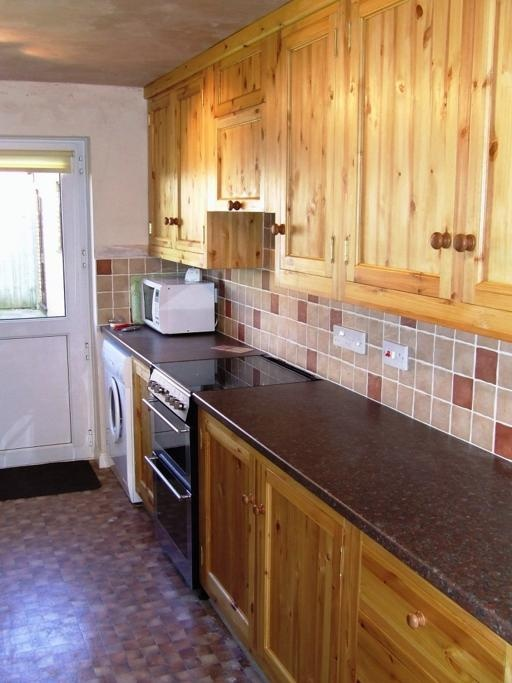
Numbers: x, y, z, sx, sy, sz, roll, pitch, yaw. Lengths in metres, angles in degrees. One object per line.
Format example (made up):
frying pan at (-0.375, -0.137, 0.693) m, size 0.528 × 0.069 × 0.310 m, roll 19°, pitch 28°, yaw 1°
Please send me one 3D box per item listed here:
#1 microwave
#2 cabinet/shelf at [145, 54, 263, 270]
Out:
microwave at (-0.492, -0.232, 3.536) m, size 0.316 × 0.320 × 0.459 m, roll -2°, pitch 9°, yaw -21°
cabinet/shelf at (-0.256, -0.928, 2.780) m, size 0.352 × 1.057 × 1.045 m, roll -2°, pitch 9°, yaw -22°
